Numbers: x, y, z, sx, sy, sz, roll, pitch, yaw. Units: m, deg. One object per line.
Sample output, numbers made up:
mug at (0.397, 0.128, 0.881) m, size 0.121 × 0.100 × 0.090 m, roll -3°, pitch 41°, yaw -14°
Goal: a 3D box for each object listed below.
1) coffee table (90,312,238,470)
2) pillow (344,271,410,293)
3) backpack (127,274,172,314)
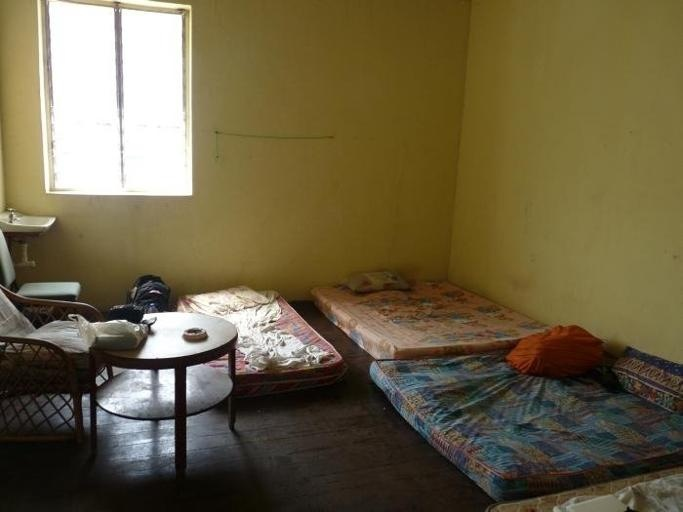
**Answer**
coffee table at (-1.118, 0.821, 3.255) m, size 0.898 × 0.650 × 0.926 m, roll 7°, pitch 8°, yaw 14°
pillow at (0.389, 0.297, 5.599) m, size 0.408 × 0.102 × 0.351 m, roll -3°, pitch 11°, yaw -24°
backpack at (-1.786, 0.350, 4.594) m, size 0.180 × 0.246 × 0.248 m, roll 41°, pitch -11°, yaw -29°
